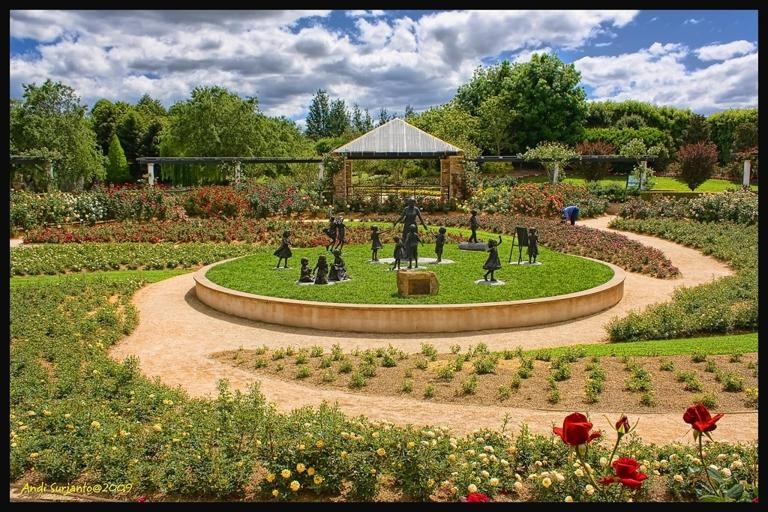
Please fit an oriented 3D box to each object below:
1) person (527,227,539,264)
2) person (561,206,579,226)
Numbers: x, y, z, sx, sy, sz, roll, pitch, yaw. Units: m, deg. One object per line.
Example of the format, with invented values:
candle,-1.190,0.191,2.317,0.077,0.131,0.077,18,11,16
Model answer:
person,4.475,-0.354,21.838,0.289,1.169,0.779,3,14,11
person,7.694,-1.697,29.918,0.521,0.984,2.377,3,13,11
